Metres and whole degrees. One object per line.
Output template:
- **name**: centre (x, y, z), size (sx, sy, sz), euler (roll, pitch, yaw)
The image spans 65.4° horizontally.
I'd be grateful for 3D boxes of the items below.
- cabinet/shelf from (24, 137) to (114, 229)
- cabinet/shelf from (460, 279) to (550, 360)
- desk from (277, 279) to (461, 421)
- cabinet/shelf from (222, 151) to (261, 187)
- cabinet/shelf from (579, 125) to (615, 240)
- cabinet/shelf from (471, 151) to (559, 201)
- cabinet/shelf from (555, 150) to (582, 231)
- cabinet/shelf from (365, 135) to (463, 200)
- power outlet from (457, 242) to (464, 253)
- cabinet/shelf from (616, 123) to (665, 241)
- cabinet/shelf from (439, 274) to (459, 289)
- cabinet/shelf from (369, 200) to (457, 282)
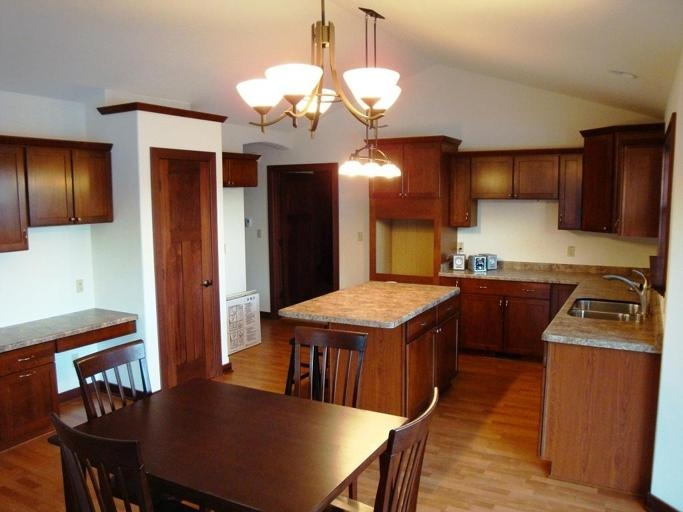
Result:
- **cabinet/shelf**: centre (-2.485, -0.643, 4.995), size (0.767, 0.788, 0.378), euler (-1, 2, -7)
- **cabinet/shelf**: centre (2.024, 0.739, 6.438), size (1.077, 0.986, 0.437), euler (2, 2, 33)
- **desk**: centre (0.398, 0.873, 5.220), size (1.151, 0.984, 1.908), euler (2, 7, 27)
- **cabinet/shelf**: centre (-1.241, -1.089, 6.747), size (0.517, 0.397, 0.289), euler (2, 10, 9)
- **cabinet/shelf**: centre (2.751, -0.818, 5.929), size (0.403, 1.110, 0.555), euler (3, 3, 11)
- **cabinet/shelf**: centre (2.115, -0.923, 6.539), size (1.033, 0.541, 0.361), euler (1, -5, 12)
- **cabinet/shelf**: centre (2.656, -0.750, 6.168), size (0.287, 0.847, 0.097), euler (-4, 8, -9)
- **cabinet/shelf**: centre (0.798, -1.179, 6.847), size (1.050, 0.790, 0.588), euler (-1, 24, 5)
- **power outlet**: centre (1.576, -0.108, 7.021), size (0.113, 0.218, 0.116), euler (2, 2, 15)
- **cabinet/shelf**: centre (2.915, -0.699, 5.199), size (0.369, 1.122, 0.669), euler (5, 13, 26)
- **cabinet/shelf**: centre (1.325, 0.284, 6.511), size (0.205, 0.205, 0.140), euler (2, 2, 33)
- **cabinet/shelf**: centre (0.909, -0.230, 6.960), size (1.029, 1.114, 0.539), euler (6, 13, 27)
